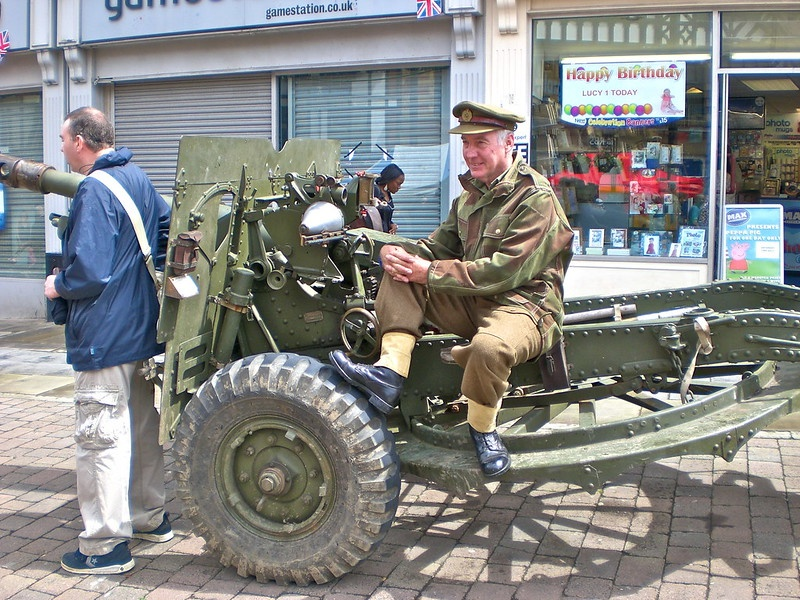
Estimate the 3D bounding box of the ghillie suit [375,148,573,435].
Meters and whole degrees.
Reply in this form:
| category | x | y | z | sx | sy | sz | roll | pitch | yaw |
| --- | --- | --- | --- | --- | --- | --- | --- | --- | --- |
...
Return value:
| category | x | y | z | sx | sy | sz | roll | pitch | yaw |
| --- | --- | --- | --- | --- | --- | --- | --- | --- | --- |
| ghillie suit | 0.205 | -0.171 | 5.467 | 1.324 | 1.943 | 1.495 | 0 | 11 | -10 |

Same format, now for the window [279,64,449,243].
| category | x | y | z | sx | sy | sz | roll | pitch | yaw |
| --- | --- | --- | --- | --- | --- | --- | --- | --- | --- |
| window | -0.471 | -1.908 | 10.639 | 2.268 | 2.565 | 0.103 | -2 | -27 | 6 |

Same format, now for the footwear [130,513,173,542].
| category | x | y | z | sx | sy | sz | roll | pitch | yaw |
| --- | --- | --- | --- | --- | --- | --- | --- | --- | --- |
| footwear | -1.615 | 1.499 | 5.485 | 0.291 | 0.151 | 0.119 | 5 | -6 | 5 |

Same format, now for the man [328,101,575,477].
| category | x | y | z | sx | sy | sz | roll | pitch | yaw |
| --- | --- | --- | --- | --- | --- | --- | --- | --- | --- |
| man | 0.354 | -0.094 | 5.007 | 1.384 | 2.087 | 1.107 | -4 | 9 | -29 |

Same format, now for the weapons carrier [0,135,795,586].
| category | x | y | z | sx | sy | sz | roll | pitch | yaw |
| --- | --- | --- | --- | --- | --- | --- | --- | --- | --- |
| weapons carrier | 0.051 | 0.120 | 5.780 | 4.831 | 2.515 | 2.490 | 1 | 5 | 11 |

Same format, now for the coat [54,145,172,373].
| category | x | y | z | sx | sy | sz | roll | pitch | yaw |
| --- | --- | --- | --- | --- | --- | --- | --- | --- | --- |
| coat | -1.766 | -0.253 | 5.179 | 0.713 | 1.302 | 0.480 | -10 | 16 | -34 |

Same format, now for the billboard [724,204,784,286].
| category | x | y | z | sx | sy | sz | roll | pitch | yaw |
| --- | --- | --- | --- | --- | --- | --- | --- | --- | --- |
| billboard | 3.845 | -0.575 | 9.229 | 0.614 | 1.083 | 0.048 | 3 | -34 | 18 |

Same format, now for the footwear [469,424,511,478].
| category | x | y | z | sx | sy | sz | roll | pitch | yaw |
| --- | --- | --- | --- | --- | --- | --- | --- | --- | --- |
| footwear | 0.530 | 0.873 | 4.838 | 0.209 | 0.239 | 0.225 | -4 | 14 | -10 |

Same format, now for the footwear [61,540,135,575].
| category | x | y | z | sx | sy | sz | roll | pitch | yaw |
| --- | --- | --- | --- | --- | --- | --- | --- | --- | --- |
| footwear | -1.809 | 1.594 | 5.152 | 0.419 | 0.219 | 0.182 | 4 | -2 | 3 |

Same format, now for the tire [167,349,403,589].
| category | x | y | z | sx | sy | sz | roll | pitch | yaw |
| --- | --- | --- | --- | --- | --- | --- | --- | --- | --- |
| tire | -0.649 | 0.993 | 4.835 | 0.927 | 0.966 | 0.386 | 25 | 17 | 11 |
